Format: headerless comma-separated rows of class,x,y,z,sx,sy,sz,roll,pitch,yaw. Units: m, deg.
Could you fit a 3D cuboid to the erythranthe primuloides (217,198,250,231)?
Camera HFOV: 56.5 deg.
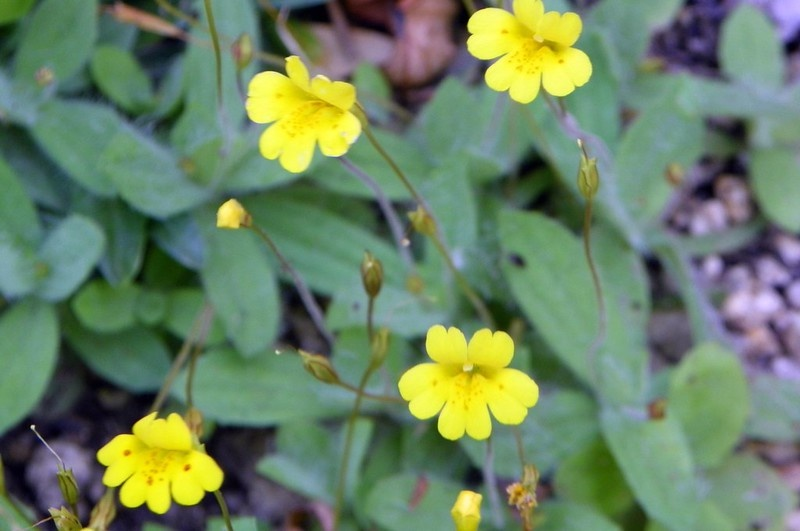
erythranthe primuloides,-0.249,-0.066,1.098,0.053,0.051,0.019,5,2,-33

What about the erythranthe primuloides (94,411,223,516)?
erythranthe primuloides,-0.339,0.260,1.025,0.185,0.204,0.079,12,48,-23

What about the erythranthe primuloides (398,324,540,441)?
erythranthe primuloides,0.091,0.172,1.069,0.177,0.066,0.217,-1,40,4
